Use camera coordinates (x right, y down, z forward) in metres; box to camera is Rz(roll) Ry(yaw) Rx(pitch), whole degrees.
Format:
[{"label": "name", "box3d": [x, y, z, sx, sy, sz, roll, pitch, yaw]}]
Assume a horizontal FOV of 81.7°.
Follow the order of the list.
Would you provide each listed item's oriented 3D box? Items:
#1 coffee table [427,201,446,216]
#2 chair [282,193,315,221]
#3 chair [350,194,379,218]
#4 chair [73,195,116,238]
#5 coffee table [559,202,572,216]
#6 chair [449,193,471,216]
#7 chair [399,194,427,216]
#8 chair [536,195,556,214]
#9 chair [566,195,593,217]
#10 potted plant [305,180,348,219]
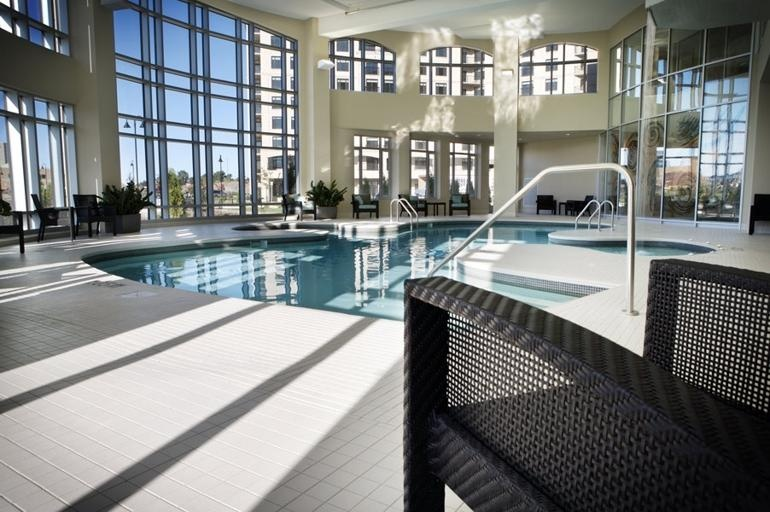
[{"label": "coffee table", "box3d": [2.274, -2.142, 19.827, 0.837, 0.635, 1.434, 3, 12, 22]}, {"label": "chair", "box3d": [-3.079, -1.741, 15.386, 1.051, 0.974, 1.156, 3, 5, 39]}, {"label": "chair", "box3d": [-0.777, -1.928, 17.330, 0.984, 1.083, 1.021, -1, 1, -22]}, {"label": "chair", "box3d": [-6.796, -0.954, 10.464, 0.818, 0.977, 1.631, -8, 13, -30]}, {"label": "coffee table", "box3d": [7.995, -2.075, 19.706, 0.613, 0.662, 0.597, -3, 7, 4]}, {"label": "chair", "box3d": [3.227, -2.244, 19.268, 1.013, 1.049, 1.026, 0, 0, 7]}, {"label": "chair", "box3d": [1.035, -2.028, 17.965, 1.041, 1.120, 0.818, 0, 3, 24]}, {"label": "chair", "box3d": [7.084, -2.271, 19.592, 0.823, 0.925, 0.937, 3, 9, 23]}, {"label": "chair", "box3d": [8.227, -2.147, 18.922, 0.969, 0.852, 1.264, 1, 11, 14]}, {"label": "potted plant", "box3d": [-2.253, -2.039, 16.428, 1.560, 1.482, 1.461, -1, 3, -14]}]
